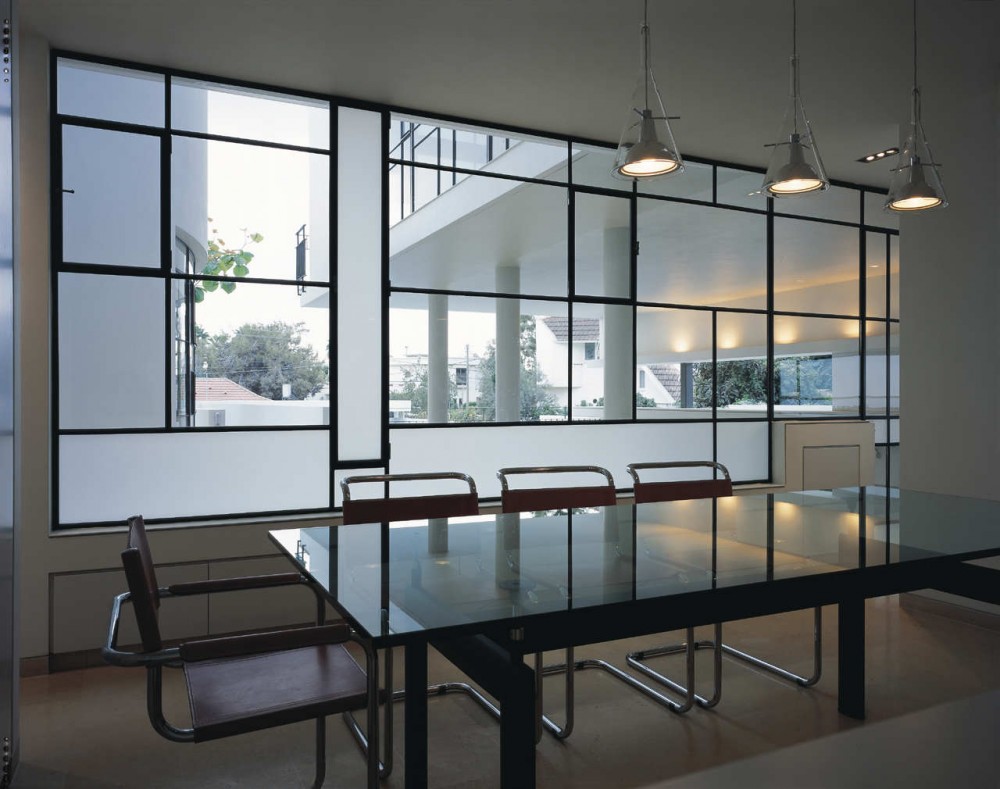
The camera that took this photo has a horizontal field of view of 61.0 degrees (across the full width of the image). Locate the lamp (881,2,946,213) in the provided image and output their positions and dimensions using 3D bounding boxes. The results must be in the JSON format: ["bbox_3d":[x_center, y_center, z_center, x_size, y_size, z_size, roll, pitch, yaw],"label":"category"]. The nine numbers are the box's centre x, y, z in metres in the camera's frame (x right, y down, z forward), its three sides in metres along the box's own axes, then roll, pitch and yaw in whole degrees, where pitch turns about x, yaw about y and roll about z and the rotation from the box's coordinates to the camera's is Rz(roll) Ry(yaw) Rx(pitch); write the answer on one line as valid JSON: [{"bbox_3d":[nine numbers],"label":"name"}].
[{"bbox_3d":[2.250,-1.561,4.516,0.258,1.200,1.425,4,8,26],"label":"lamp"}]
